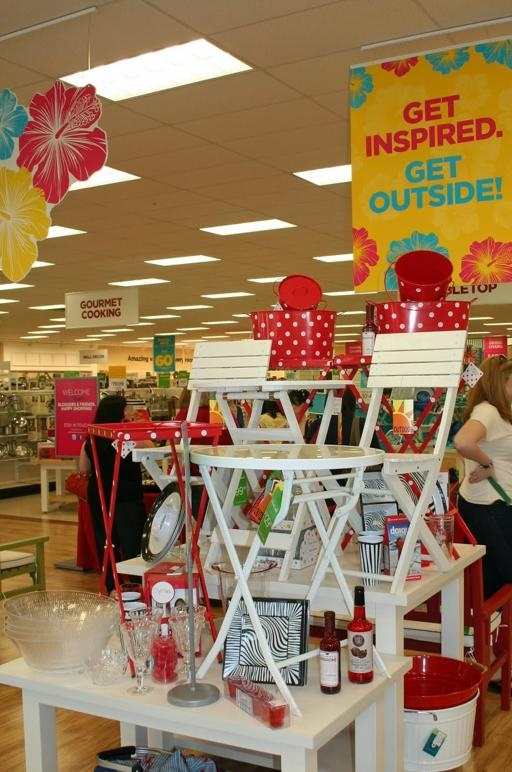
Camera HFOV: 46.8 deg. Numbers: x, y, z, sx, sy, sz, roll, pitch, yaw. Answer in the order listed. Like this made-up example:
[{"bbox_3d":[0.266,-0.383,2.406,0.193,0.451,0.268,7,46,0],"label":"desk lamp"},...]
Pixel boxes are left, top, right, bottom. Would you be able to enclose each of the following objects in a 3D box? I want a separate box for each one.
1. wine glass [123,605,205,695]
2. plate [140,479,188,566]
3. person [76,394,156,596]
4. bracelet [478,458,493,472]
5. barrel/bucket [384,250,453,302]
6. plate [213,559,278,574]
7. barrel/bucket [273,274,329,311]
[{"bbox_3d":[-0.182,0.536,1.244,0.170,0.143,0.168,0,-5,3],"label":"wine glass"},{"bbox_3d":[-0.244,0.362,1.603,0.040,0.197,0.195,10,25,-23],"label":"plate"},{"bbox_3d":[-0.871,0.691,3.952,0.396,1.318,0.407,10,20,25],"label":"person"},{"bbox_3d":[1.111,0.391,2.879,0.040,0.033,0.053,-2,-3,-28],"label":"bracelet"},{"bbox_3d":[0.636,-0.424,2.255,0.204,0.230,0.261,1,3,12],"label":"barrel/bucket"},{"bbox_3d":[-0.012,0.518,1.691,0.081,0.022,0.114,-2,-2,29],"label":"plate"},{"bbox_3d":[0.193,-0.413,2.593,0.186,0.170,0.216,1,3,2],"label":"barrel/bucket"}]
